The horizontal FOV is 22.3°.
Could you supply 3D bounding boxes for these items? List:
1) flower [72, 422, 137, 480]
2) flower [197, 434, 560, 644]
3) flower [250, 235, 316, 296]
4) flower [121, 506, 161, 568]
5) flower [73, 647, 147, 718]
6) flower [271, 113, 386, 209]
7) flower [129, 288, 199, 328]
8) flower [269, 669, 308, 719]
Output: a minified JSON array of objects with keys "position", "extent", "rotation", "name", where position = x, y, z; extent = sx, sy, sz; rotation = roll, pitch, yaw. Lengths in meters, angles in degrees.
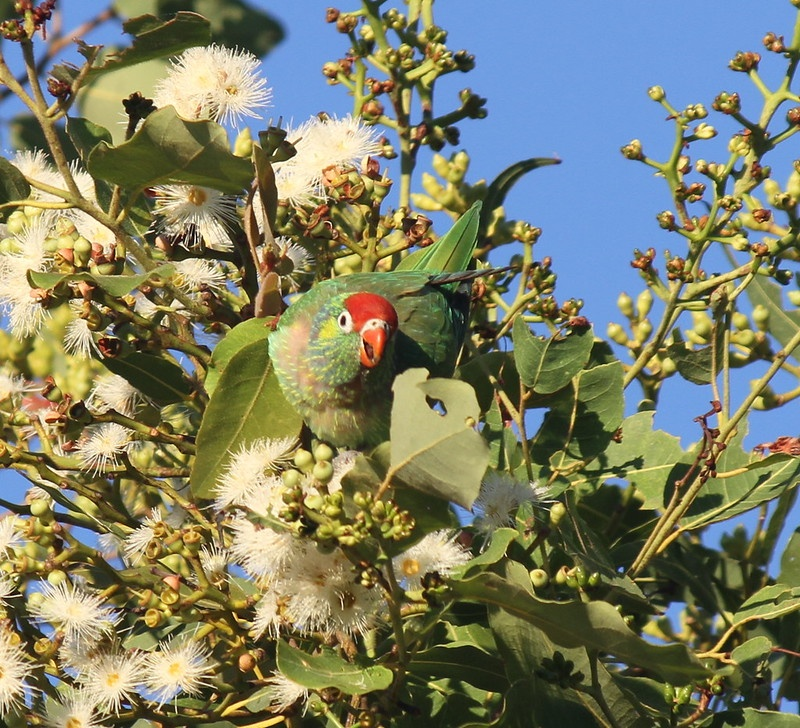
[{"position":[-0.804,0.229,5.572],"extent":[0.146,0.137,0.078],"rotation":[22,-28,41],"name":"flower"},{"position":[-0.136,0.491,5.300],"extent":[0.510,0.550,0.315],"rotation":[62,-22,20],"name":"flower"},{"position":[-0.319,-0.291,5.680],"extent":[0.136,0.146,0.063],"rotation":[44,14,9],"name":"flower"},{"position":[-0.679,0.466,5.366],"extent":[0.059,0.142,0.151],"rotation":[35,14,-14],"name":"flower"},{"position":[-0.726,0.795,5.160],"extent":[0.142,0.148,0.070],"rotation":[25,-16,27],"name":"flower"},{"position":[-0.152,-0.648,5.801],"extent":[0.152,0.300,0.285],"rotation":[56,16,-3],"name":"flower"},{"position":[-0.694,-0.157,5.682],"extent":[0.109,0.044,0.122],"rotation":[5,-22,24],"name":"flower"},{"position":[-0.282,0.839,5.146],"extent":[0.102,0.087,0.106],"rotation":[23,-19,1],"name":"flower"}]
